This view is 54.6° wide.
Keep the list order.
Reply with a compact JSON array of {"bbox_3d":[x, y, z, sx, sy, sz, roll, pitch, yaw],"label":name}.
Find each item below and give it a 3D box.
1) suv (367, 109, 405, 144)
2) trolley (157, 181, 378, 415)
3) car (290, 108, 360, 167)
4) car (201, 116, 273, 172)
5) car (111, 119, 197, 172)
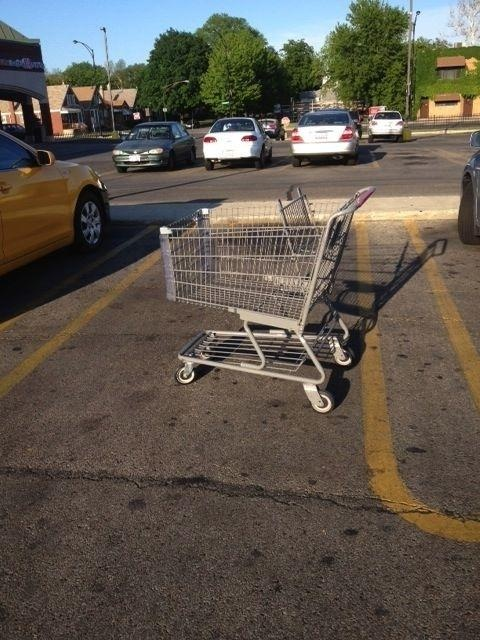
[{"bbox_3d":[9.472,-12.319,29.707,2.343,1.943,2.562,1,15,11],"label":"suv"},{"bbox_3d":[0.181,-0.213,3.344,1.258,1.377,0.794,8,22,21],"label":"trolley"},{"bbox_3d":[3.027,-6.523,16.592,2.238,1.905,1.807,0,15,8],"label":"car"},{"bbox_3d":[-0.050,-6.792,17.787,1.460,1.346,2.808,1,30,7],"label":"car"},{"bbox_3d":[-3.358,-7.083,19.076,2.186,1.888,3.224,6,17,29],"label":"car"}]
